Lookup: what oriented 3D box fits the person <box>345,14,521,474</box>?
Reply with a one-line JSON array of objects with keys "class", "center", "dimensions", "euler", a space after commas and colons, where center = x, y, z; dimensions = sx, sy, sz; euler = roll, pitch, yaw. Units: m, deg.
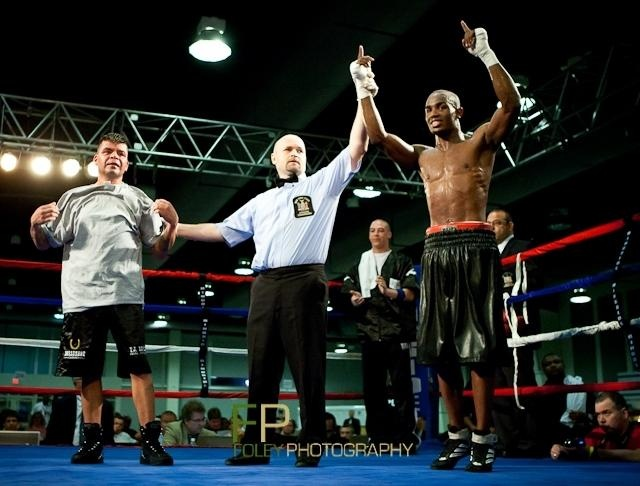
[{"class": "person", "center": [0.948, -0.032, 4.351], "dimensions": [0.654, 2.982, 1.020], "euler": [1, -18, -5]}]

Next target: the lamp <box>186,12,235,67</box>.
[{"class": "lamp", "center": [-1.479, -2.711, 8.613], "dimensions": [0.510, 0.503, 0.501], "euler": [4, -28, -5]}]

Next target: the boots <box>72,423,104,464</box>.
[{"class": "boots", "center": [-1.564, 1.357, 4.332], "dimensions": [0.147, 0.262, 0.375], "euler": [-2, -17, 9]}]

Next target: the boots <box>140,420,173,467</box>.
[{"class": "boots", "center": [-1.120, 1.366, 4.390], "dimensions": [0.138, 0.269, 0.390], "euler": [2, -7, -37]}]

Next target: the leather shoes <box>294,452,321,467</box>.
[{"class": "leather shoes", "center": [-0.085, 1.455, 4.319], "dimensions": [0.190, 0.130, 0.071], "euler": [2, -27, -1]}]

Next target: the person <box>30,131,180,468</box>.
[{"class": "person", "center": [-1.492, 0.317, 4.501], "dimensions": [1.037, 2.360, 0.532], "euler": [3, -19, -12]}]
